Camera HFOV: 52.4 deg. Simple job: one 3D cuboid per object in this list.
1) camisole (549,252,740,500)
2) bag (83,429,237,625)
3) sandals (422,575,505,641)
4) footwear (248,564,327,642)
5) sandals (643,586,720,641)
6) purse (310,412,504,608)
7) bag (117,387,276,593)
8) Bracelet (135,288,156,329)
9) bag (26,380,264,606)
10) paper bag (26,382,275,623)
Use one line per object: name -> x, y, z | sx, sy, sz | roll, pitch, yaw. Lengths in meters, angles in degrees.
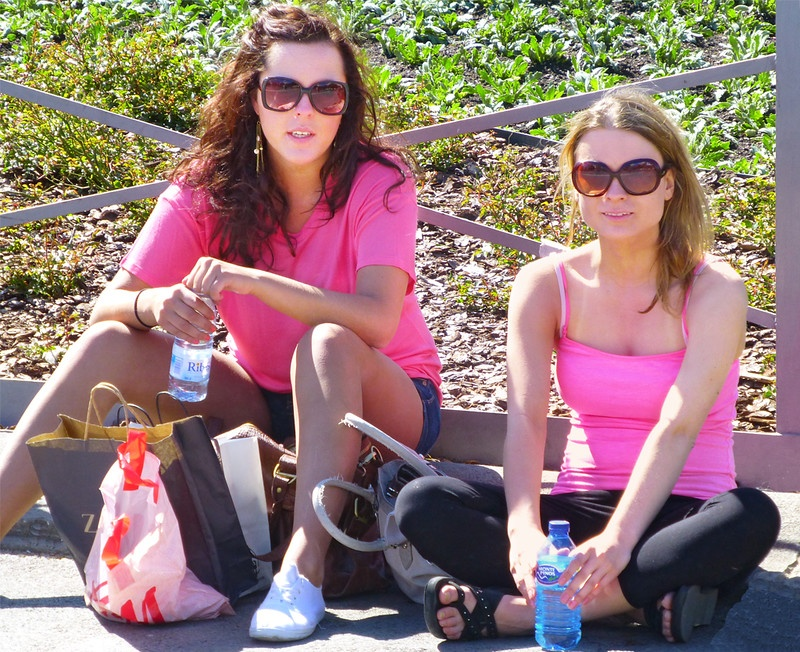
camisole -> 0.838, 0.168, 2.743 | 0.649, 0.866, 0.480 | -6, -19, 22
bag -> -0.805, 0.640, 2.543 | 0.535, 0.618, 0.314 | 0, 8, 11
sandals -> 0.187, 0.838, 2.407 | 0.310, 0.122, 0.095 | 5, 12, -28
footwear -> -0.338, 0.847, 2.479 | 0.169, 0.192, 0.225 | 8, 12, 17
sandals -> 0.801, 0.833, 2.358 | 0.133, 0.224, 0.071 | 29, 10, -23
purse -> -0.056, 0.581, 2.735 | 0.534, 0.540, 0.385 | 6, 16, -9
bag -> -0.677, 0.560, 2.656 | 0.225, 0.622, 0.618 | -29, 22, -37
Bracelet -> -0.945, -0.054, 2.983 | 0.066, 0.149, 0.083 | 0, 13, -19
bag -> -0.878, 0.533, 2.697 | 0.684, 0.738, 0.283 | -2, 23, 11
paper bag -> -0.821, 0.589, 2.656 | 0.594, 0.655, 0.246 | -11, 23, 23
